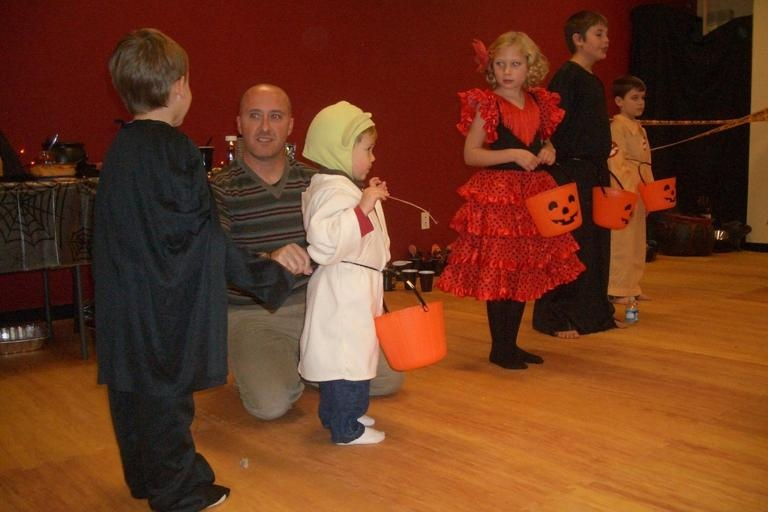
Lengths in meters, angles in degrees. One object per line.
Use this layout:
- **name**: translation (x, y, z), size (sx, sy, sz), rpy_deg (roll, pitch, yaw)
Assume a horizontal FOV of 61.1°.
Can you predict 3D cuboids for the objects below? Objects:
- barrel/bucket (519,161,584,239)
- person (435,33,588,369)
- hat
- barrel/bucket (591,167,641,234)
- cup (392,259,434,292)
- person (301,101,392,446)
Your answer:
- **barrel/bucket**: translation (0.934, -0.250, 3.665), size (0.362, 0.253, 0.331), rpy_deg (-11, 9, 2)
- **person**: translation (0.708, -0.308, 3.746), size (0.821, 1.878, 0.396), rpy_deg (-3, 9, 1)
- **hat**: translation (-0.219, -0.552, 3.062), size (0.357, 0.324, 0.284), rpy_deg (2, 17, 14)
- **barrel/bucket**: translation (1.416, -0.346, 4.037), size (0.316, 0.472, 0.432), rpy_deg (3, -1, 20)
- **cup**: translation (0.261, 0.154, 5.504), size (0.346, 0.142, 0.238), rpy_deg (3, 8, 27)
- **person**: translation (-0.183, 0.082, 3.002), size (0.474, 1.571, 0.378), rpy_deg (-5, 9, -12)
